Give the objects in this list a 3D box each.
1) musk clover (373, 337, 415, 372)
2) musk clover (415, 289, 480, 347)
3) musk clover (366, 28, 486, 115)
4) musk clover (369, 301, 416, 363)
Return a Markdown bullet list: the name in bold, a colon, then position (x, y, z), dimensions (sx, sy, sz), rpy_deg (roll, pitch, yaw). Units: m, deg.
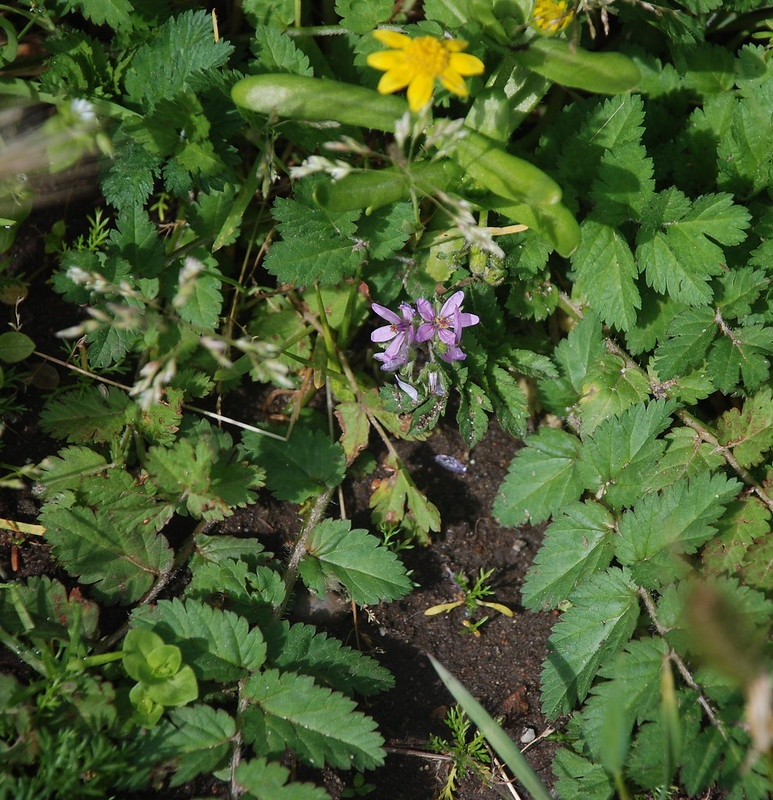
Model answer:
- **musk clover**: position (0.026, -0.134, 2.545), dimensions (0.037, 0.101, 0.084), rpy_deg (21, 48, -50)
- **musk clover**: position (0.173, -0.249, 2.515), dimensions (0.204, 0.086, 0.199), rpy_deg (19, 10, -34)
- **musk clover**: position (0.122, -0.924, 2.172), dimensions (0.326, 0.069, 0.305), rpy_deg (12, 65, 12)
- **musk clover**: position (0.041, -0.217, 2.559), dimensions (0.160, 0.178, 0.092), rpy_deg (30, 32, 14)
